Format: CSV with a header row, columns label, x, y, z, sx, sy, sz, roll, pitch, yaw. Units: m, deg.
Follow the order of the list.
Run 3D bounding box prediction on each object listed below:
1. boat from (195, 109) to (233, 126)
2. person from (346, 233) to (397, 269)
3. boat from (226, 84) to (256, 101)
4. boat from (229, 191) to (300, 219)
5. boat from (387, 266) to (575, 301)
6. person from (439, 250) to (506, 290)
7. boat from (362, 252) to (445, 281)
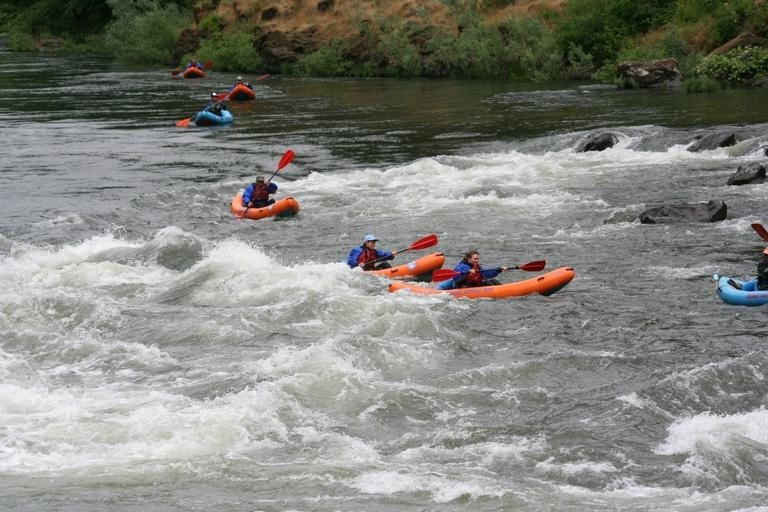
label,x,y,z,sx,sy,sz,roll,pitch,yaw
boat,-6.353,-5.134,43.637,1.049,0.578,1.332,9,23,31
person,-0.279,0.092,28.221,1.242,0.846,0.792,5,19,4
boat,-6.204,-7.012,50.530,0.681,0.791,1.374,-27,30,-36
boat,-3.379,-1.295,31.815,1.754,0.320,0.803,1,10,38
boat,2.017,0.715,26.957,4.955,0.458,1.123,-3,-6,10
person,1.807,0.439,27.168,1.985,0.463,0.911,3,8,13
boat,0.485,0.282,28.030,1.746,0.281,0.680,-9,7,5
